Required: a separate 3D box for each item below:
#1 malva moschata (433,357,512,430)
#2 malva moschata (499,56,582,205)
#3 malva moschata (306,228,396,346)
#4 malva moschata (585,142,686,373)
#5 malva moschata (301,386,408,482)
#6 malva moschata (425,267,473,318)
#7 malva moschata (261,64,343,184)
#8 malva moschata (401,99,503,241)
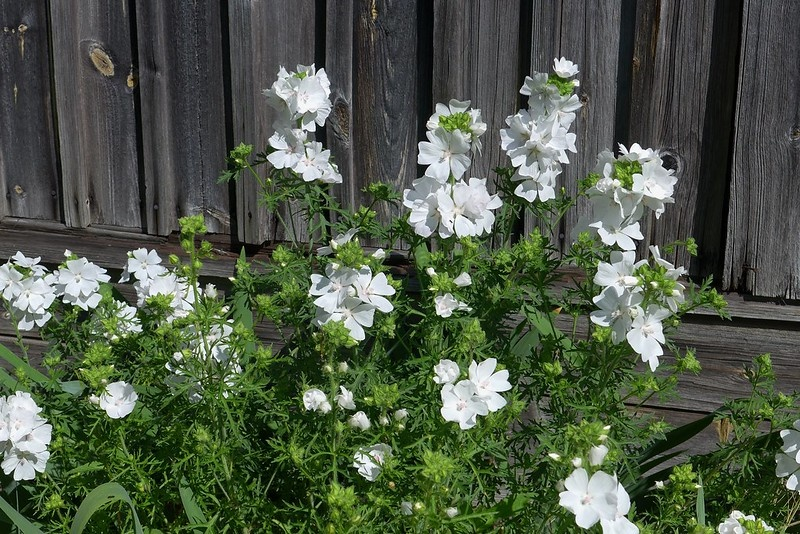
[{"bbox_3d":[0.269,0.439,2.826,0.243,0.278,0.121,35,-3,-8],"label":"malva moschata"},{"bbox_3d":[0.604,-0.498,3.145,0.407,0.617,0.259,-28,38,-34],"label":"malva moschata"},{"bbox_3d":[-0.173,0.121,2.839,0.288,0.274,0.239,-23,36,-27],"label":"malva moschata"},{"bbox_3d":[0.903,-0.040,2.950,0.385,0.757,0.639,4,32,13],"label":"malva moschata"},{"bbox_3d":[-0.177,0.655,2.885,0.349,0.437,0.259,10,34,22],"label":"malva moschata"},{"bbox_3d":[0.228,0.119,3.091,0.181,0.194,0.085,-20,9,-21],"label":"malva moschata"},{"bbox_3d":[-0.449,-0.667,3.494,0.324,0.586,0.416,15,26,16],"label":"malva moschata"},{"bbox_3d":[0.204,-0.349,3.021,0.395,0.539,0.366,-9,31,-8],"label":"malva moschata"}]
